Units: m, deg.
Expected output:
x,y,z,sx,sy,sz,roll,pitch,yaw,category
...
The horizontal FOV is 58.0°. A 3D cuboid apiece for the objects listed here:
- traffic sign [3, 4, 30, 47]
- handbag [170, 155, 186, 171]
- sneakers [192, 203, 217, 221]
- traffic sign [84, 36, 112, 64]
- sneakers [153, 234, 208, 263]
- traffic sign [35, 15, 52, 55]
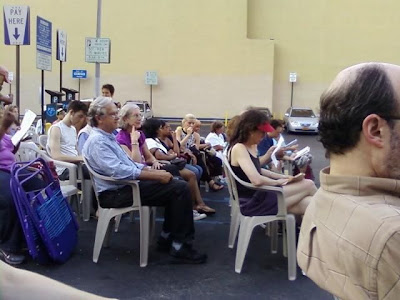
x,y,z,sx,sy,sz,roll,pitch,yaw,category
-4.463,-3.030,8.724,0.633,0.948,0.445,0,6,-11,traffic sign
-0.300,0.191,5.085,0.175,0.078,0.179,25,16,41,handbag
0.089,0.932,5.368,0.404,0.194,0.159,-2,1,-5,sneakers
-2.672,-2.624,9.476,0.663,0.698,0.496,1,6,-3,traffic sign
-0.198,1.053,3.870,0.586,0.310,0.228,3,5,-5,sneakers
-4.425,-3.232,10.156,0.257,0.986,1.117,0,6,-13,traffic sign
